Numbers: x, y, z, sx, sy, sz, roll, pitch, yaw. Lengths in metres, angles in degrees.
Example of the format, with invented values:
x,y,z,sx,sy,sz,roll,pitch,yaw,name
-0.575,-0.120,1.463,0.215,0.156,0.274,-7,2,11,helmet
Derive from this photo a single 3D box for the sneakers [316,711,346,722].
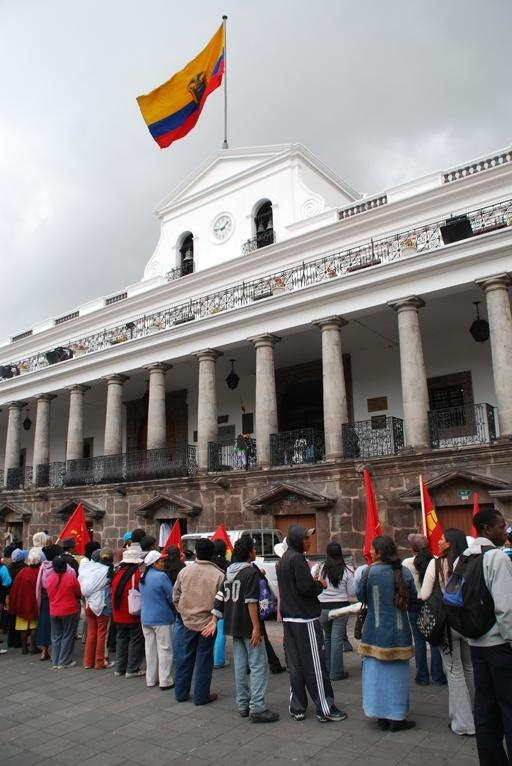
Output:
x,y,z,sx,sy,sz,roll,pitch,yaw,name
0.687,3.030,5.130,0.251,0.123,0.102,3,-21,-15,sneakers

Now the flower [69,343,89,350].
x,y,z,sx,sy,sz,roll,pitch,yaw,name
-8.501,-1.756,26.944,0.511,0.188,0.563,-1,-8,-3,flower

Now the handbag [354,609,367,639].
x,y,z,sx,sy,sz,roll,pitch,yaw,name
0.924,2.115,4.914,0.113,0.283,0.255,-5,-12,10,handbag

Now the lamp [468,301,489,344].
x,y,z,sx,sy,sz,roll,pitch,yaw,name
7.035,-1.854,17.675,0.463,1.153,1.766,-9,-14,25,lamp

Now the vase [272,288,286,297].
x,y,z,sx,sy,sz,roll,pitch,yaw,name
0.775,-3.163,18.967,0.358,0.278,0.370,1,-20,-1,vase

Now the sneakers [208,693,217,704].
x,y,z,sx,sy,sz,roll,pitch,yaw,name
-0.474,3.436,6.081,0.039,0.051,0.116,-2,-3,30,sneakers

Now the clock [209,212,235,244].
x,y,z,sx,sy,sz,roll,pitch,yaw,name
-1.482,-6.965,25.175,1.351,1.416,0.108,-19,-23,35,clock

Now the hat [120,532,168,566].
x,y,z,sx,sy,sz,roll,pitch,yaw,name
-1.560,2.253,7.494,0.478,0.298,0.662,2,-12,-3,hat

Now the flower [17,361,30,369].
x,y,z,sx,sy,sz,roll,pitch,yaw,name
-12.186,-0.948,29.389,0.431,0.543,0.704,-1,0,7,flower

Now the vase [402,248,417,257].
x,y,z,sx,sy,sz,roll,pitch,yaw,name
4.435,-3.785,16.181,0.342,0.176,0.351,3,-18,-10,vase

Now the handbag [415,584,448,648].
x,y,z,sx,sy,sz,roll,pitch,yaw,name
1.457,1.965,4.621,0.262,0.514,0.513,-6,-13,15,handbag

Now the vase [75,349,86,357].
x,y,z,sx,sy,sz,roll,pitch,yaw,name
-7.914,-1.277,25.082,0.378,0.385,0.385,-10,-15,30,vase

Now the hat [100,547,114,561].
x,y,z,sx,sy,sz,roll,pitch,yaw,name
-2.279,2.625,8.557,0.152,0.179,0.216,0,-11,-5,hat

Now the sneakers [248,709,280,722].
x,y,z,sx,sy,sz,roll,pitch,yaw,name
0.074,3.114,5.252,0.205,0.092,0.117,1,-18,-5,sneakers

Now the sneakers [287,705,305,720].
x,y,z,sx,sy,sz,roll,pitch,yaw,name
0.392,3.111,5.267,0.069,0.083,0.183,3,-9,-7,sneakers

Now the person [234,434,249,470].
x,y,z,sx,sy,sz,roll,pitch,yaw,name
-0.490,2.387,18.868,0.751,1.500,0.200,-16,-24,41,person

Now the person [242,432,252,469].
x,y,z,sx,sy,sz,roll,pitch,yaw,name
-0.310,2.335,18.780,0.304,1.130,0.535,-6,-12,14,person

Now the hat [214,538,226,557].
x,y,z,sx,sy,sz,roll,pitch,yaw,name
-0.504,2.335,7.906,0.212,0.265,0.258,-1,-20,1,hat

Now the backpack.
x,y,z,sx,sy,sz,roll,pitch,yaw,name
1.392,1.368,3.605,0.324,0.538,0.356,3,-16,0,backpack

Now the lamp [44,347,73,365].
x,y,z,sx,sy,sz,roll,pitch,yaw,name
-9.461,-1.448,26.946,1.155,0.822,1.443,-3,-3,-40,lamp

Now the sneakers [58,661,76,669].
x,y,z,sx,sy,sz,roll,pitch,yaw,name
-2.764,4.184,8.253,0.078,0.102,0.234,-2,-5,29,sneakers

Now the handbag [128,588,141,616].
x,y,z,sx,sy,sz,roll,pitch,yaw,name
-1.515,2.746,7.013,0.150,0.386,0.287,-4,-23,-4,handbag
